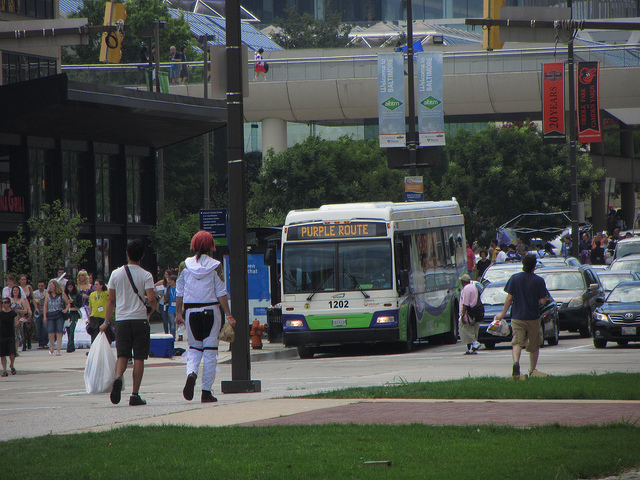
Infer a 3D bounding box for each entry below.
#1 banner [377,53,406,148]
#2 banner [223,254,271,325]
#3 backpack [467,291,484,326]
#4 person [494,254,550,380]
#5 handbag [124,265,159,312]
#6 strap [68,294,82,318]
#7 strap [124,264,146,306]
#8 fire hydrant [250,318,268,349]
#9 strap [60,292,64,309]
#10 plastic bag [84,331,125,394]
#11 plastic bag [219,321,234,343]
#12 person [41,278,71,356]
[{"bbox_3d":[2.389,-4.732,53.830,0.930,3.392,0.032,0,28,7],"label":"banner"},{"bbox_3d":[-2.063,1.464,50.568,0.896,2.771,1.060,-1,2,-13],"label":"banner"},{"bbox_3d":[4.368,2.040,45.834,0.449,0.905,0.623,-3,3,29],"label":"backpack"},{"bbox_3d":[5.119,1.913,40.343,1.024,3.117,0.889,1,0,8],"label":"person"},{"bbox_3d":[-4.165,1.084,37.396,0.505,1.163,0.476,-1,2,18],"label":"handbag"},{"bbox_3d":[-7.706,2.118,50.730,0.071,0.693,0.073,-28,-6,-13],"label":"strap"},{"bbox_3d":[-4.295,1.090,37.243,0.117,0.939,0.097,-24,4,-10],"label":"strap"},{"bbox_3d":[-1.925,2.888,49.077,0.395,0.872,0.727,-3,0,-2],"label":"fire hydrant"},{"bbox_3d":[-8.141,1.927,50.738,0.097,0.491,0.218,-3,1,-13],"label":"strap"},{"bbox_3d":[-5.096,2.944,37.982,0.593,1.547,0.946,-2,-18,12],"label":"plastic bag"},{"bbox_3d":[-2.178,2.122,37.374,0.219,0.478,0.444,-4,-9,30],"label":"plastic bag"},{"bbox_3d":[-8.267,2.312,50.489,0.697,2.686,0.599,0,-1,-18],"label":"person"}]
